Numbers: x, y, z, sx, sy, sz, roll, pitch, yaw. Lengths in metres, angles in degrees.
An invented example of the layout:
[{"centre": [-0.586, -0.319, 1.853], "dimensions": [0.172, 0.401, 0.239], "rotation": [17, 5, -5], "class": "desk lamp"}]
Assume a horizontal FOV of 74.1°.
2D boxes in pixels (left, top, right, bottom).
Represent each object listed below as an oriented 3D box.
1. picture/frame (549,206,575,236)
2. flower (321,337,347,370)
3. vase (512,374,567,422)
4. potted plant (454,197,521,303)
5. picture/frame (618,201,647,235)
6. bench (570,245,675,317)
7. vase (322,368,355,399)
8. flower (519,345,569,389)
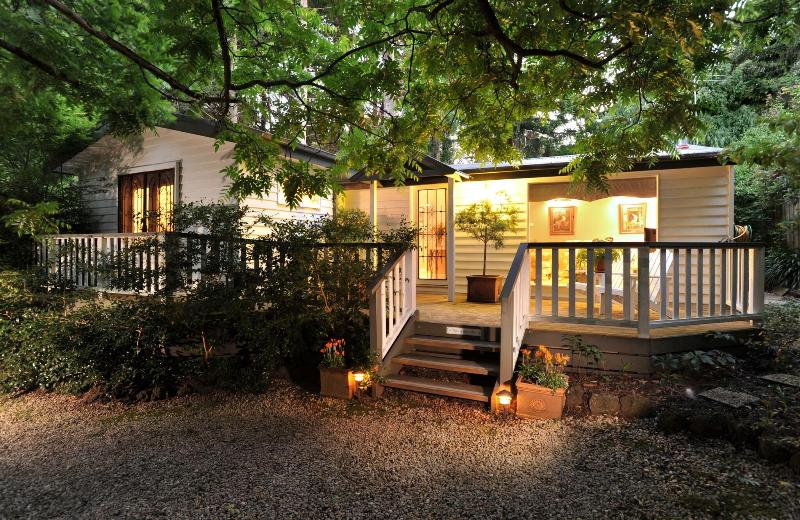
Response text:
[{"centre": [4.003, -0.961, 13.018], "dimensions": [0.689, 0.832, 0.062], "rotation": [2, 4, 24], "class": "picture/frame"}, {"centre": [-0.959, 1.374, 7.756], "dimensions": [0.398, 0.495, 0.389], "rotation": [1, -4, -10], "class": "flower"}, {"centre": [1.928, 1.823, 7.225], "dimensions": [0.657, 0.466, 0.695], "rotation": [2, 12, 15], "class": "vase"}, {"centre": [1.729, -0.232, 10.634], "dimensions": [1.236, 2.096, 1.295], "rotation": [1, 1, 12], "class": "potted plant"}, {"centre": [5.472, -0.986, 12.402], "dimensions": [0.775, 0.965, 0.073], "rotation": [6, 5, 40], "class": "picture/frame"}, {"centre": [3.931, 0.299, 9.092], "dimensions": [1.881, 1.358, 1.363], "rotation": [0, -2, -22], "class": "bench"}, {"centre": [-0.893, 1.748, 7.716], "dimensions": [0.439, 0.338, 0.448], "rotation": [0, 2, 7], "class": "vase"}, {"centre": [1.937, 1.429, 7.338], "dimensions": [0.662, 0.361, 0.847], "rotation": [-4, 11, 9], "class": "flower"}]
